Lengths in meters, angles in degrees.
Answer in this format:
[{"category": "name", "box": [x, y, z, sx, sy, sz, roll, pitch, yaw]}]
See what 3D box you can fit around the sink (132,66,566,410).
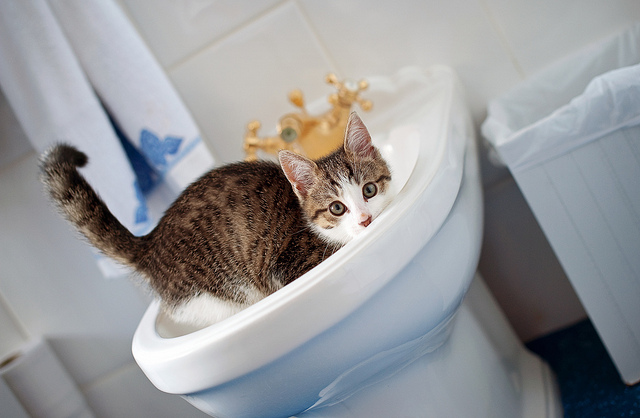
[{"category": "sink", "box": [0.152, 0.166, 1.566, 0.876, 0.860, 1.180, -19, 31, 27]}]
